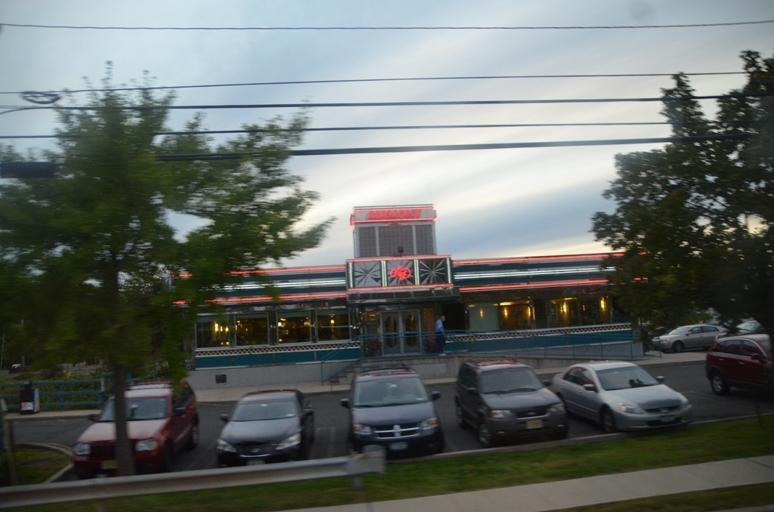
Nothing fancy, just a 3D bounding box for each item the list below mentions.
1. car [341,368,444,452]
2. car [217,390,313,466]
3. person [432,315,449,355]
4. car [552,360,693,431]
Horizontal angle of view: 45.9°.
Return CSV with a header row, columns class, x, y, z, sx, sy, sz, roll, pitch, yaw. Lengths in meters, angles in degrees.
class,x,y,z,sx,sy,sz,roll,pitch,yaw
car,0.072,4.237,24.457,2.442,1.735,2.447,-4,4,-6
car,-3.226,4.731,24.266,2.169,1.626,2.811,-4,4,3
person,2.314,3.438,39.144,0.516,1.477,0.933,-6,5,2
car,6.676,3.963,25.737,1.952,1.541,3.263,-6,4,-21
